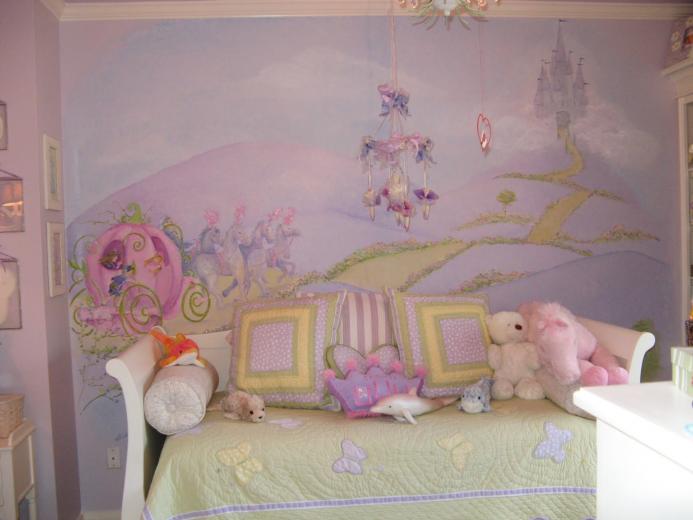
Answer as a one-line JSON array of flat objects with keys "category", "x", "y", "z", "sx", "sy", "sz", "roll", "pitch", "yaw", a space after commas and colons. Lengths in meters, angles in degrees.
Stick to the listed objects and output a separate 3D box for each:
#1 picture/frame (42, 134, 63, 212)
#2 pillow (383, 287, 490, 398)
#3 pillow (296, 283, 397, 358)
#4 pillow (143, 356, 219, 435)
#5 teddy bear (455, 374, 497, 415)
[{"category": "picture/frame", "x": -1.751, "y": -0.505, "z": 3.428, "sx": 0.054, "sy": 0.441, "sz": 0.302, "roll": -3, "pitch": -3, "yaw": -15}, {"category": "pillow", "x": 0.534, "y": 0.443, "z": 3.201, "sx": 0.528, "sy": 0.525, "sz": 0.145, "roll": -5, "pitch": -19, "yaw": -19}, {"category": "pillow", "x": 0.056, "y": 0.353, "z": 3.512, "sx": 0.447, "sy": 0.461, "sz": 0.138, "roll": 4, "pitch": -15, "yaw": -13}, {"category": "pillow", "x": -0.814, "y": 0.680, "z": 2.861, "sx": 0.204, "sy": 0.192, "sz": 0.446, "roll": 0, "pitch": 3, "yaw": -1}, {"category": "teddy bear", "x": 0.689, "y": 0.678, "z": 2.984, "sx": 0.172, "sy": 0.119, "sz": 0.301, "roll": 3, "pitch": 22, "yaw": 32}]
